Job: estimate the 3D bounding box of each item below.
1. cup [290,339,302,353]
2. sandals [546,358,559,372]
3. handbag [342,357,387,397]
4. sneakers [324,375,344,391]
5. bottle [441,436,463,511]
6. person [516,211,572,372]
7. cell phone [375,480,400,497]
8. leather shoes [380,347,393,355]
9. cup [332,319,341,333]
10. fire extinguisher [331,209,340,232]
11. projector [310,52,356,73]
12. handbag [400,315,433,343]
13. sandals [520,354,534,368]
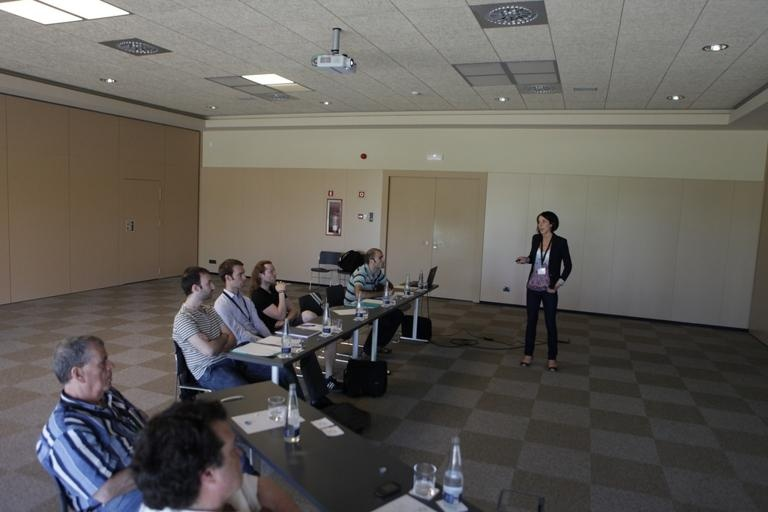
[{"bbox_3d":[-0.961,0.967,5.249,0.112,0.103,0.110,1,7,0],"label":"cup"},{"bbox_3d":[2.585,1.669,7.395,0.096,0.102,0.267,-2,-4,12],"label":"sandals"},{"bbox_3d":[-0.237,1.587,6.230,0.507,0.486,0.179,-1,0,-1],"label":"handbag"},{"bbox_3d":[-0.660,1.689,6.430,0.353,0.144,0.149,0,0,8],"label":"sneakers"},{"bbox_3d":[0.487,1.479,3.372,0.133,0.441,0.244,3,11,6],"label":"bottle"},{"bbox_3d":[2.484,0.496,7.580,0.718,2.404,0.790,6,12,20],"label":"person"},{"bbox_3d":[0.030,1.634,3.409,0.177,0.037,0.115,-2,12,-23],"label":"cell phone"},{"bbox_3d":[0.055,1.542,7.904,0.158,0.065,0.081,-2,3,25],"label":"leather shoes"},{"bbox_3d":[-0.572,0.858,5.947,0.126,0.163,0.125,-1,4,0],"label":"cup"},{"bbox_3d":[-1.207,-0.879,12.548,0.250,0.542,0.080,6,12,18],"label":"fire extinguisher"},{"bbox_3d":[-0.746,-2.758,6.849,0.478,0.151,0.354,3,4,20],"label":"projector"},{"bbox_3d":[0.646,1.268,8.838,0.779,0.649,0.416,0,-6,11],"label":"handbag"},{"bbox_3d":[2.242,1.629,7.617,0.107,0.113,0.295,-3,-4,23],"label":"sandals"}]
